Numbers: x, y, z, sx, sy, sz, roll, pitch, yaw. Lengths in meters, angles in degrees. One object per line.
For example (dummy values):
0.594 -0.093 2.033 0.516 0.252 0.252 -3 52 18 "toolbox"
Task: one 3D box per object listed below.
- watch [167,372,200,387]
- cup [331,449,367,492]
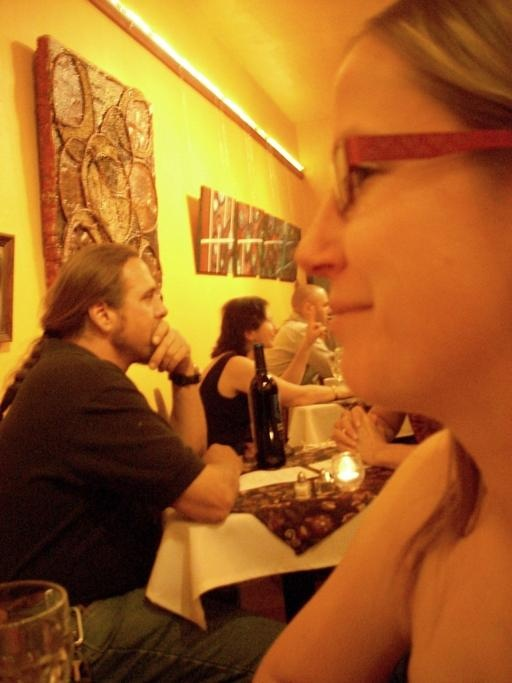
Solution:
-0.185 0.100 1.413 0.067 0.041 0.060 5 -2 -41 "watch"
0.142 0.199 0.823 0.052 0.048 0.053 -8 0 0 "cup"
